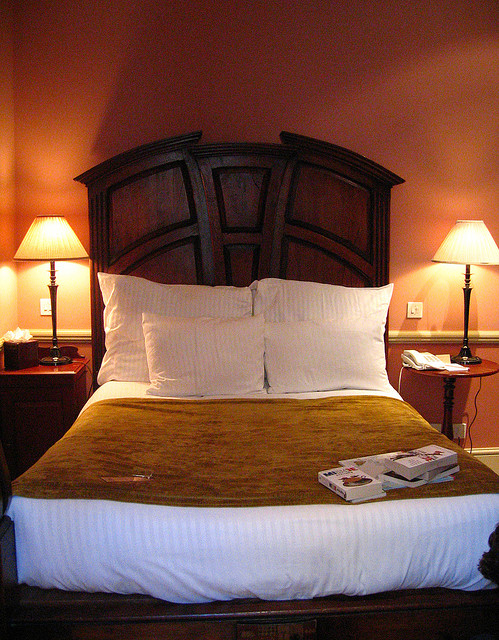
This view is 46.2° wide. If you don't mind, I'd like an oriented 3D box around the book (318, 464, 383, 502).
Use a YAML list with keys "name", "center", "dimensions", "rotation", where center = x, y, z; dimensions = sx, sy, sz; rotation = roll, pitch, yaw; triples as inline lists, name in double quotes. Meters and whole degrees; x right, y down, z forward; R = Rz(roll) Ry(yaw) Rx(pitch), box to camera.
- name: "book"
  center: [0.271, 0.437, 1.627]
  dimensions: [0.091, 0.024, 0.094]
  rotation: [-5, 11, -26]

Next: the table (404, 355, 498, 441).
- name: "table"
  center: [1.073, 0.373, 3.075]
  dimensions: [0.406, 0.441, 0.402]
  rotation: [0, 3, -3]

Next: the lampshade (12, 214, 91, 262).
- name: "lampshade"
  center: [-1.005, -0.398, 2.988]
  dimensions: [0.381, 0.244, 0.371]
  rotation: [-3, 1, 2]

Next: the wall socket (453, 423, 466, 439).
- name: "wall socket"
  center: [1.190, 0.631, 3.331]
  dimensions: [0.078, 0.081, 0.042]
  rotation: [-2, 2, -4]

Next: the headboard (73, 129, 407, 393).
- name: "headboard"
  center: [-0.092, -0.312, 2.922]
  dimensions: [1.266, 1.292, 0.131]
  rotation: [-1, 4, -7]

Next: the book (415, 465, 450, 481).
- name: "book"
  center: [0.538, 0.448, 1.713]
  dimensions: [0.056, 0.014, 0.051]
  rotation: [-7, 2, -39]
